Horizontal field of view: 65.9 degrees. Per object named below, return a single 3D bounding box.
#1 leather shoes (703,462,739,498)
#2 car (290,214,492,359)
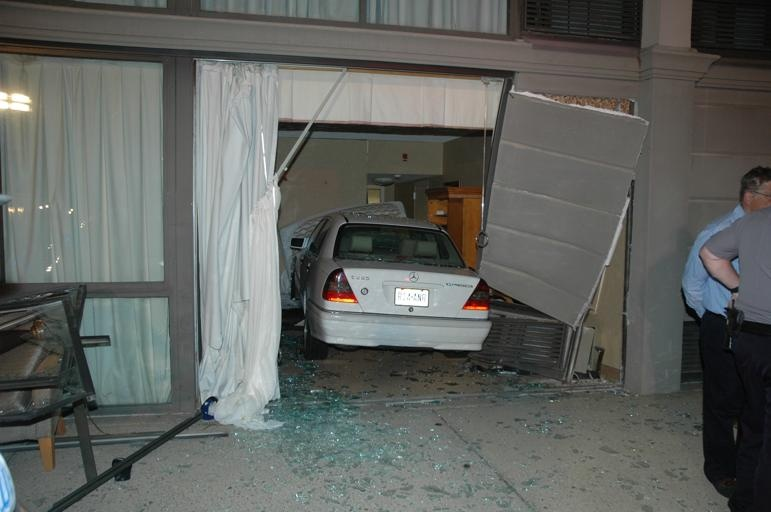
[{"bbox_3d":[3.226,2.154,5.725,0.209,0.170,0.518,-1,-27,39],"label":"leather shoes"},{"bbox_3d":[0.077,0.395,7.332,1.411,1.054,2.889,3,14,-10],"label":"car"}]
